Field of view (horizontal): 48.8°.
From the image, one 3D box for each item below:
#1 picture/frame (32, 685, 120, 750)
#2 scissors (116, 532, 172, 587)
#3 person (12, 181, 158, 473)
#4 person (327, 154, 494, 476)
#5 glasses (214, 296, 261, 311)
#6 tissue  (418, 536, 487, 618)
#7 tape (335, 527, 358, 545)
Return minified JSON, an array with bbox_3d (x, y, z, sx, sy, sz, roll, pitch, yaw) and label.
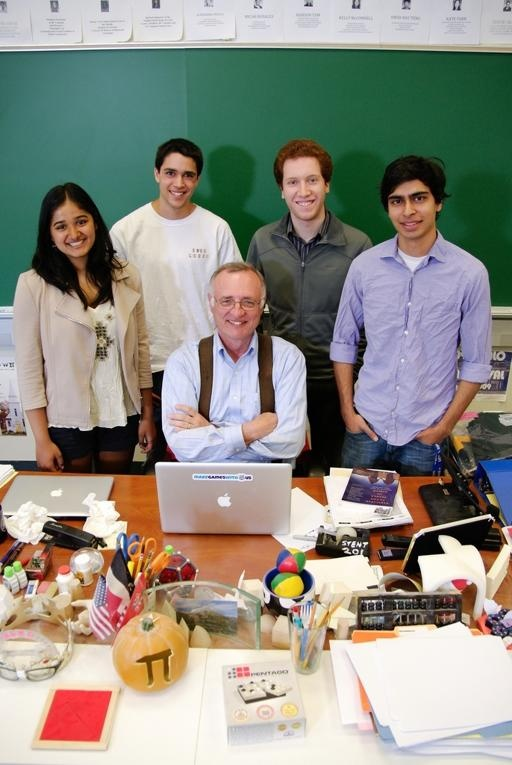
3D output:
[{"bbox_3d":[-0.302,0.565,0.958,0.125,0.021,0.120,-5,19,1],"label":"picture/frame"},{"bbox_3d":[-0.234,0.374,1.177,0.091,0.106,0.080,18,9,-29],"label":"scissors"},{"bbox_3d":[-0.656,-0.152,2.161,0.526,1.146,0.225,-12,19,-19],"label":"person"},{"bbox_3d":[0.550,-0.115,2.102,0.601,0.943,0.267,2,20,21],"label":"person"},{"bbox_3d":[-0.061,-0.252,1.809,0.126,0.050,0.048,-5,18,1],"label":"glasses"},{"bbox_3d":[0.438,0.411,1.253,0.108,0.072,0.183,-2,23,3],"label":"tissue "},{"bbox_3d":[0.239,0.396,1.477,0.053,0.018,0.077,-2,19,9],"label":"tape"}]
